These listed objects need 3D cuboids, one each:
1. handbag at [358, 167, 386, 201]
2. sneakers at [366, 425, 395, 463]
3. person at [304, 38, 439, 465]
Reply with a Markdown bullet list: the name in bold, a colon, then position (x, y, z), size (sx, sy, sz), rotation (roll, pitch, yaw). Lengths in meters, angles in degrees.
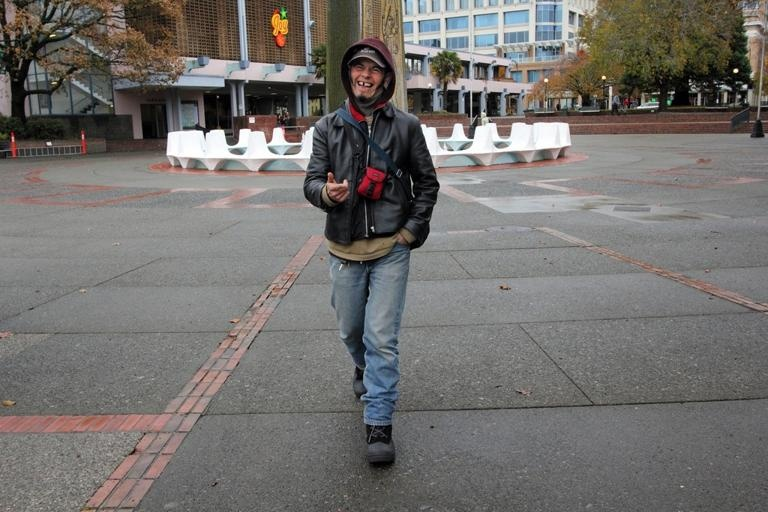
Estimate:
- **handbag**: position (-0.091, -0.488, 3.786), size (0.164, 0.205, 0.108), rotation (19, 2, -11)
- **sneakers**: position (-0.032, 1.220, 3.747), size (0.179, 0.223, 0.234), rotation (-3, 13, -6)
- **person**: position (-0.139, -0.086, 3.884), size (0.771, 2.697, 0.853), rotation (5, 15, 28)
